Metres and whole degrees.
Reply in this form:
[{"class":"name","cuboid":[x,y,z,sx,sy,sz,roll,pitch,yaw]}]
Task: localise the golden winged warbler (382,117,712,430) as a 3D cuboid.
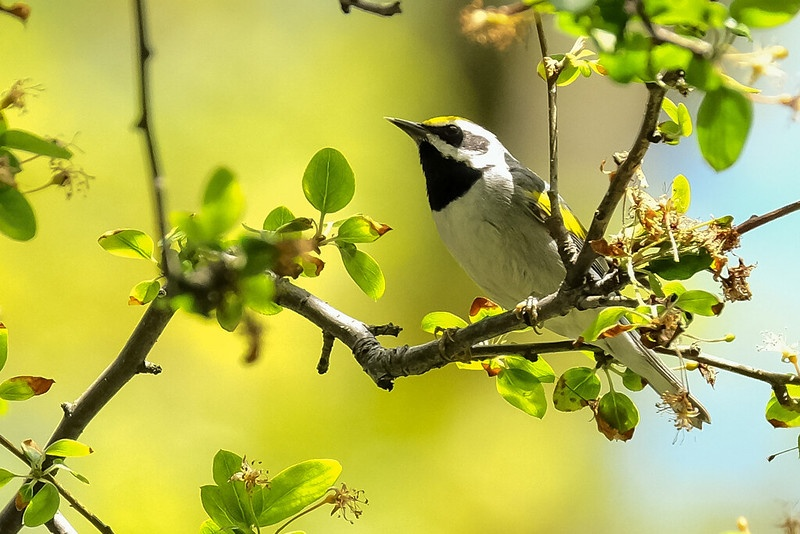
[{"class":"golden winged warbler","cuboid":[0.715,0.031,3.421,1.556,0.673,0.514,22,-28,-5]}]
